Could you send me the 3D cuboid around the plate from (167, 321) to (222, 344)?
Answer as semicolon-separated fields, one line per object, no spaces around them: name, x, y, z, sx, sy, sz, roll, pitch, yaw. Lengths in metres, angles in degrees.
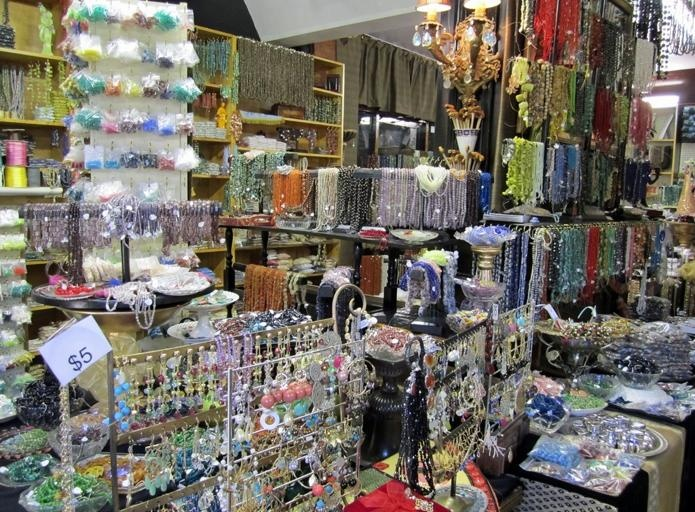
plate;-0.836;0.395;2.804;0.207;0.069;0.408;-9;11;-32

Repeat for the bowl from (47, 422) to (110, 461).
bowl;-0.934;0.645;1.820;0.172;0.084;0.175;1;0;0

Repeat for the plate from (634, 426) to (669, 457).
plate;1.367;0.856;2.367;0.126;0.026;0.130;-23;5;30
